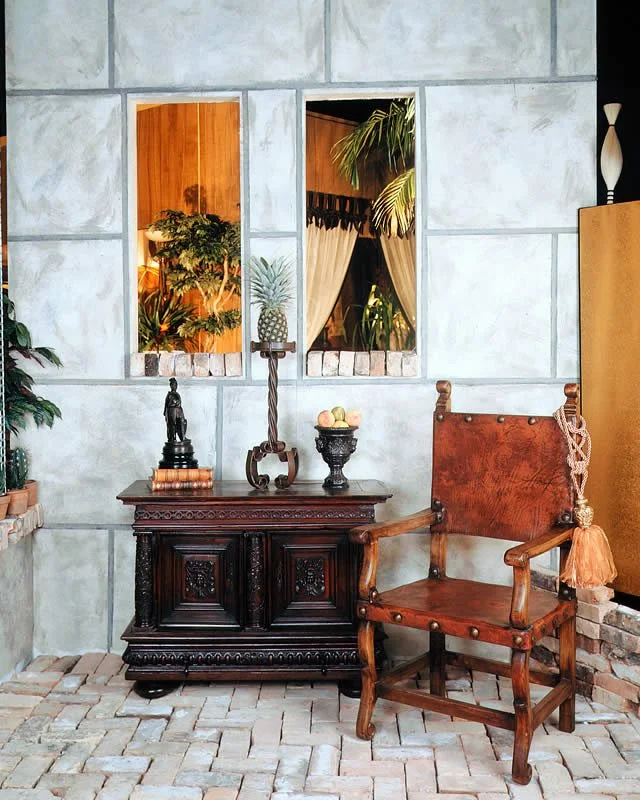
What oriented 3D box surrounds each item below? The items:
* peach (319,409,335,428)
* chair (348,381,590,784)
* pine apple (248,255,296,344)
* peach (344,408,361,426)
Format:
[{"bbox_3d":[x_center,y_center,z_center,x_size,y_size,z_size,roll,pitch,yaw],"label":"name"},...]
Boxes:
[{"bbox_3d":[0.032,0.071,3.243,0.055,0.059,0.059,3,11,11],"label":"peach"},{"bbox_3d":[0.494,0.546,2.767,0.597,1.162,0.492,2,2,38],"label":"chair"},{"bbox_3d":[-0.203,-0.399,3.393,0.155,0.384,0.136,3,8,-1],"label":"pine apple"},{"bbox_3d":[0.129,0.071,3.301,0.057,0.064,0.061,-13,-8,19],"label":"peach"}]
